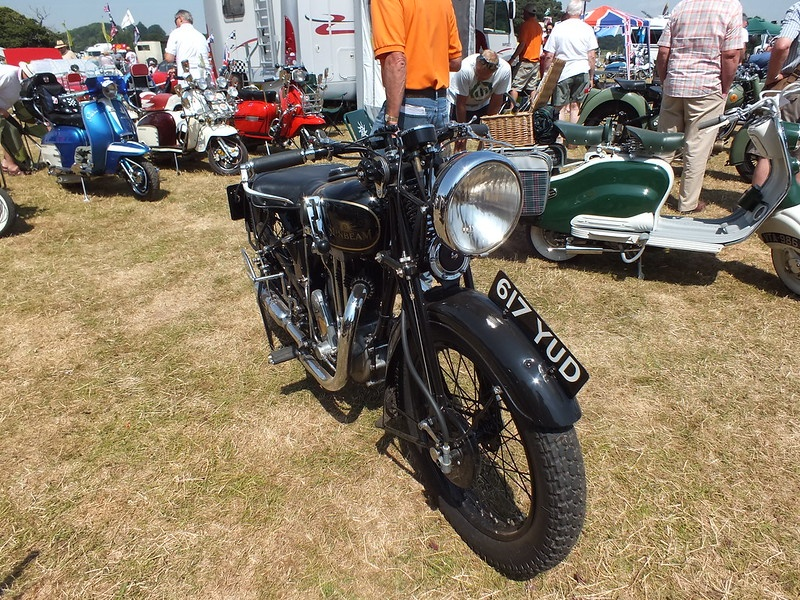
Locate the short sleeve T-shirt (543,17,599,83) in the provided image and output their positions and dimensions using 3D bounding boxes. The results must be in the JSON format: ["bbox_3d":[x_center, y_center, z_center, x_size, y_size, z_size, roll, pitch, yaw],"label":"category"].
[{"bbox_3d":[2.481,-3.807,7.994,0.840,0.451,0.952,7,43,6],"label":"short sleeve T-shirt"}]

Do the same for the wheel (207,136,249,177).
[{"bbox_3d":[-2.383,-2.009,7.669,0.580,0.640,0.169,-24,47,-30],"label":"wheel"}]

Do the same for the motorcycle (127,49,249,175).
[{"bbox_3d":[-3.066,-2.539,7.813,2.031,1.466,0.872,11,17,26],"label":"motorcycle"}]

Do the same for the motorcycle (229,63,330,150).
[{"bbox_3d":[-1.896,-2.848,8.364,1.836,1.281,0.769,13,21,30],"label":"motorcycle"}]

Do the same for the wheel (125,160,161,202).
[{"bbox_3d":[-3.093,-1.426,6.675,0.464,0.482,0.138,-22,-4,35],"label":"wheel"}]

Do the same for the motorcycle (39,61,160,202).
[{"bbox_3d":[-3.790,-2.005,6.860,1.949,1.395,0.709,12,18,29],"label":"motorcycle"}]

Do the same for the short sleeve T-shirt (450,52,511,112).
[{"bbox_3d":[0.979,-2.610,6.775,0.707,0.427,1.064,-10,36,-7],"label":"short sleeve T-shirt"}]

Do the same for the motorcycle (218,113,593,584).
[{"bbox_3d":[-0.203,-0.151,3.362,0.960,2.093,3.294,-11,34,-28],"label":"motorcycle"}]
